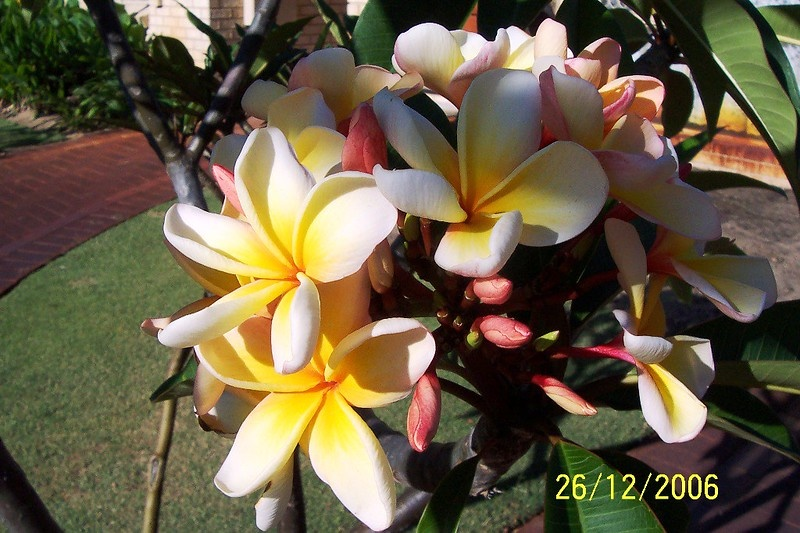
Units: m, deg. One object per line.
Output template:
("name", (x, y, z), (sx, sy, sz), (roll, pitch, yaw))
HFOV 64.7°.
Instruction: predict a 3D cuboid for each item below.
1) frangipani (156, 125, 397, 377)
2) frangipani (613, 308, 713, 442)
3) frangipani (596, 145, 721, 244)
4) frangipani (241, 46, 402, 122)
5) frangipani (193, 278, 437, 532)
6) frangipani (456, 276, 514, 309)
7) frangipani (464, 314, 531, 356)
("frangipani", (-0.212, -0.034, 1.028), (0.399, 0.230, 0.323), (8, 46, 8))
("frangipani", (0.455, 0.184, 1.062), (0.191, 0.178, 0.157), (1, 45, 1))
("frangipani", (0.423, -0.118, 1.075), (0.130, 0.290, 0.075), (-29, 59, 25))
("frangipani", (-0.154, -0.344, 1.182), (0.191, 0.093, 0.192), (-20, 17, -18))
("frangipani", (-0.130, 0.229, 1.068), (0.397, 0.425, 0.139), (-8, 0, 26))
("frangipani", (0.154, 0.045, 1.090), (0.085, 0.044, 0.043), (-11, 69, 58))
("frangipani", (0.172, 0.109, 1.100), (0.044, 0.058, 0.103), (-52, 27, -17))
